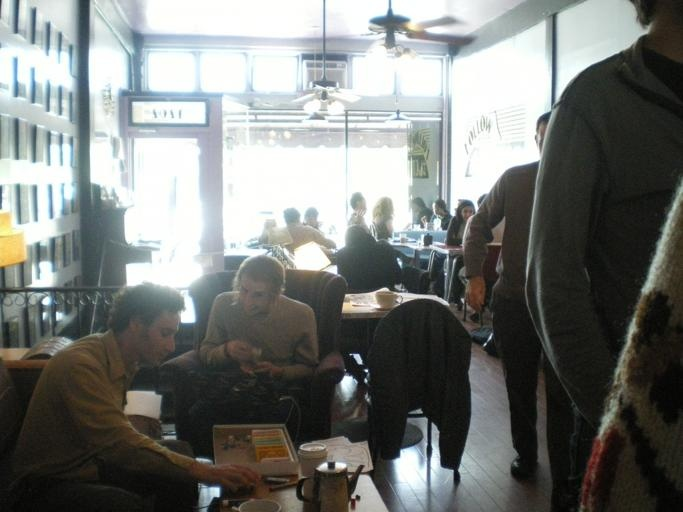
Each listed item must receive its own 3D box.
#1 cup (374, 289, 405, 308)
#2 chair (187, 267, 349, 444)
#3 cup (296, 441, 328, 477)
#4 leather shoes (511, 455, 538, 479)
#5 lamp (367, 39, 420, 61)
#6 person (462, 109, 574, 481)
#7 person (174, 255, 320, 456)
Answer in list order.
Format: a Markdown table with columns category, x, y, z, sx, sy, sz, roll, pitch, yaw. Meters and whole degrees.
| category | x | y | z | sx | sy | sz | roll | pitch | yaw |
| --- | --- | --- | --- | --- | --- | --- | --- | --- | --- |
| cup | 0.317 | 0.283 | 4.252 | 0.143 | 0.077 | 0.116 | 2 | -2 | 24 |
| chair | -0.462 | 0.514 | 3.595 | 0.875 | 1.120 | 0.942 | -1 | -7 | 2 |
| cup | -0.095 | 0.727 | 2.278 | 0.088 | 0.077 | 0.093 | 1 | -1 | 0 |
| leather shoes | 0.975 | 1.136 | 3.434 | 0.144 | 0.108 | 0.089 | 2 | 3 | 8 |
| lamp | 0.434 | -1.752 | 5.488 | 0.334 | 0.202 | 0.463 | 5 | 10 | 42 |
| person | 0.971 | 0.201 | 3.300 | 0.666 | 1.774 | 0.438 | 1 | -3 | 44 |
| person | -0.451 | 0.576 | 3.259 | 0.735 | 1.073 | 0.660 | 4 | -1 | 24 |
